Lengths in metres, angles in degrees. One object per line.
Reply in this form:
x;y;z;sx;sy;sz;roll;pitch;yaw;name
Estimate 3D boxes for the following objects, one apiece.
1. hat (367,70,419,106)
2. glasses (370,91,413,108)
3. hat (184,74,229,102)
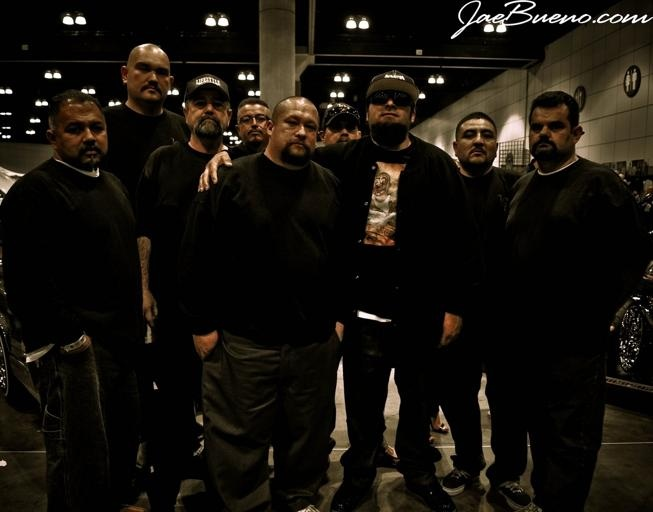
0.454;-1.122;4.273;0.315;0.228;0.440;3;-3;3;hat
0.434;-1.053;4.104;0.147;0.042;0.151;2;-18;2;glasses
-0.861;-1.218;4.433;0.311;0.188;0.211;-1;12;-14;hat
